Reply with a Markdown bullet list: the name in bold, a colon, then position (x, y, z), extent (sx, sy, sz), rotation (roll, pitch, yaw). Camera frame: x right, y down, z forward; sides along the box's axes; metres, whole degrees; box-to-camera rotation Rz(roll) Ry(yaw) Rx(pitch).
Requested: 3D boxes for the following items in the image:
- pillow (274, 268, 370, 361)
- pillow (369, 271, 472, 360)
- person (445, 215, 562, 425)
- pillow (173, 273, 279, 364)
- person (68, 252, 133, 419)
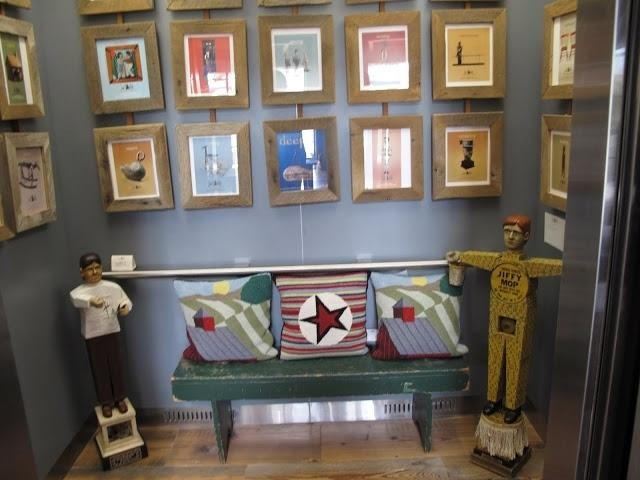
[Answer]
- **pillow**: position (0.017, 0.401, 2.894), extent (0.440, 0.467, 0.157), rotation (-1, 0, 3)
- **pillow**: position (0.522, 0.396, 2.870), extent (0.430, 0.440, 0.164), rotation (-1, -6, 0)
- **person**: position (0.892, 0.372, 2.652), extent (0.554, 1.000, 0.226), rotation (5, 14, 35)
- **pillow**: position (-0.493, 0.411, 2.904), extent (0.436, 0.452, 0.178), rotation (-3, 0, -4)
- **person**: position (-1.096, 0.486, 2.794), extent (0.252, 0.858, 0.130), rotation (-9, 13, -26)
